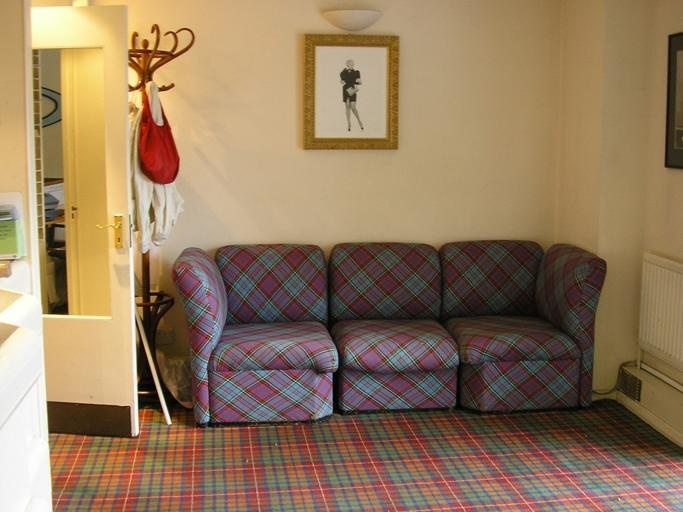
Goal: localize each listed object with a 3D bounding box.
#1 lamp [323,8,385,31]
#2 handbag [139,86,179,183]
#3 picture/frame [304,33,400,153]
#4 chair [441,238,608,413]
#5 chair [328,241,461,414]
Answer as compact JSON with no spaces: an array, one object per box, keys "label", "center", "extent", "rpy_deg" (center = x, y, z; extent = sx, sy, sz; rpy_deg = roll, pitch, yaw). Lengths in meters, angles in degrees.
[{"label":"lamp","center":[0.069,-1.649,3.979],"extent":[0.408,0.146,0.165],"rpy_deg":[0,12,-3]},{"label":"handbag","center":[-1.130,-0.724,3.490],"extent":[0.224,0.589,0.256],"rpy_deg":[-3,12,-15]},{"label":"picture/frame","center":[0.050,-1.196,4.067],"extent":[0.764,0.939,0.039],"rpy_deg":[0,3,-7]},{"label":"chair","center":[1.165,0.466,4.072],"extent":[1.021,1.160,1.047],"rpy_deg":[0,-2,6]},{"label":"chair","center":[0.329,0.450,3.812],"extent":[0.734,1.068,1.044],"rpy_deg":[0,5,-2]}]
